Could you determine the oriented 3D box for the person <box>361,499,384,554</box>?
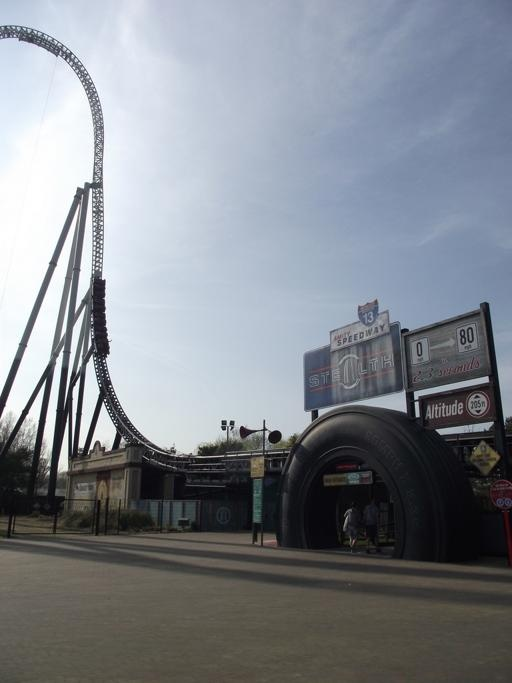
[{"bbox_3d":[3.971,6.279,15.064,0.526,1.898,0.493,-3,8,7],"label":"person"}]
